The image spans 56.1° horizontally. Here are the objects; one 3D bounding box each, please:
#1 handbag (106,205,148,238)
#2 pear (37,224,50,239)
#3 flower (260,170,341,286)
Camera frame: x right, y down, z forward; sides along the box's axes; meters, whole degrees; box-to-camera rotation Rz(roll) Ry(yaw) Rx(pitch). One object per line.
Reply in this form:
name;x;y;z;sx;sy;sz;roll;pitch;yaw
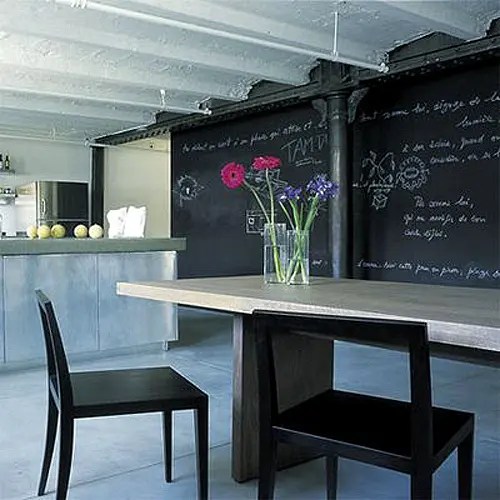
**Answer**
handbag;-1.263;-0.284;4.770;0.212;0.304;0.669;-6;6;-31
pear;-1.819;-0.160;4.149;0.094;0.110;0.179;-5;6;-28
flower;0.212;-0.095;2.024;0.293;0.408;0.276;7;-8;-32
